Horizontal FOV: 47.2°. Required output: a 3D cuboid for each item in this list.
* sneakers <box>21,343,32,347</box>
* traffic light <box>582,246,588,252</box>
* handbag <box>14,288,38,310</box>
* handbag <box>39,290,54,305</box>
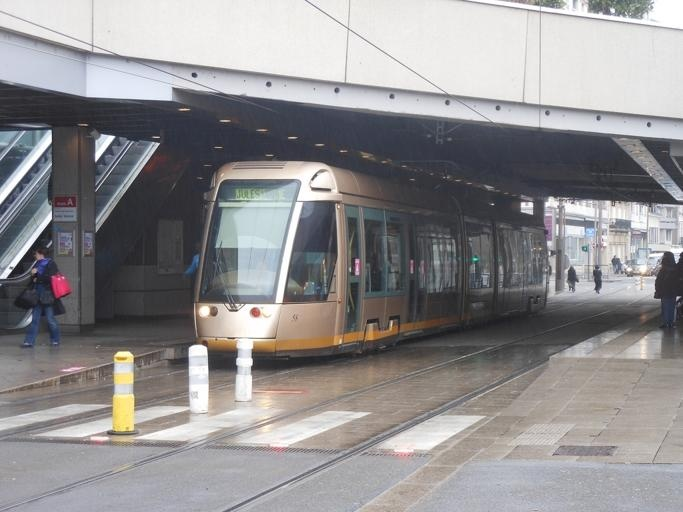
[{"bbox_3d":[-6.751,1.898,16.683,0.211,0.088,0.078,-1,-1,16],"label":"sneakers"},{"bbox_3d":[18.292,-0.538,58.805,0.338,0.419,0.634,-1,-1,17],"label":"traffic light"},{"bbox_3d":[-6.981,0.956,17.262,0.511,0.509,0.220,23,17,15],"label":"handbag"},{"bbox_3d":[-6.353,0.881,16.758,0.296,0.299,0.112,2,-5,-29],"label":"handbag"}]
